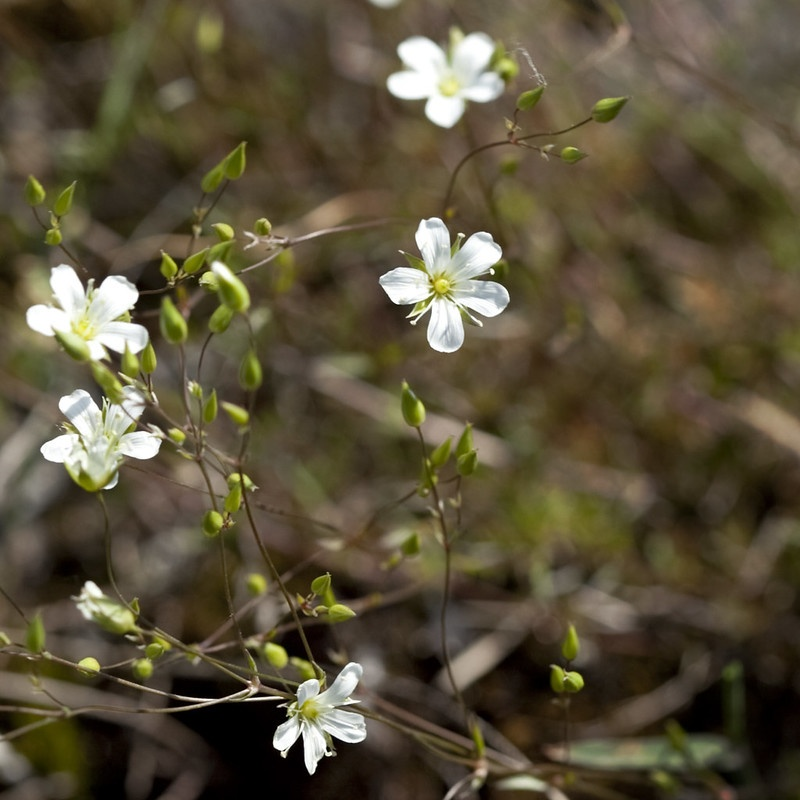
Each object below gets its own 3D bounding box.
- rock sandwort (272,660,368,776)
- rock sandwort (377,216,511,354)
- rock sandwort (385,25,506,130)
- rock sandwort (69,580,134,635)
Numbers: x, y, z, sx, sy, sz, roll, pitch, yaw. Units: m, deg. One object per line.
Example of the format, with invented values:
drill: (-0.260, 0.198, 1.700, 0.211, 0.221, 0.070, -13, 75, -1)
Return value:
rock sandwort: (-0.258, 1.048, 2.842, 0.393, 0.349, 0.141, -13, 29, -18)
rock sandwort: (0.159, -0.404, 3.036, 0.406, 0.480, 0.210, -4, -11, 14)
rock sandwort: (0.202, -1.313, 3.558, 0.464, 0.123, 0.529, 6, 1, 13)
rock sandwort: (-0.913, 0.653, 2.735, 0.179, 0.168, 0.266, 2, -11, -16)
